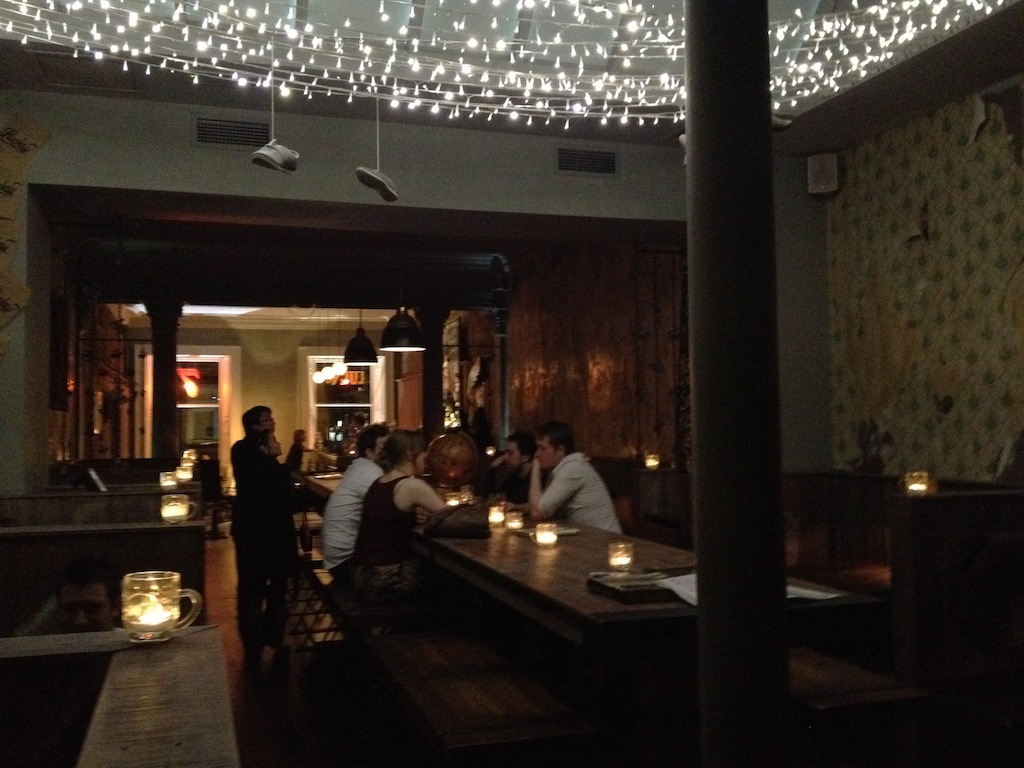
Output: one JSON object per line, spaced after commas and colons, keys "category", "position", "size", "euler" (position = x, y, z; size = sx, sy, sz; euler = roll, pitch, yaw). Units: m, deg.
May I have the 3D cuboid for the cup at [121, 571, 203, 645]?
{"category": "cup", "position": [-1.083, 0.700, 2.705], "size": [0.313, 0.257, 0.205], "euler": [6, -9, -26]}

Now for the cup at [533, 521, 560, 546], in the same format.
{"category": "cup", "position": [0.175, 0.762, 4.259], "size": [0.118, 0.094, 0.092], "euler": [-2, -1, -8]}

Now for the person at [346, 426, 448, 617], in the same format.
{"category": "person", "position": [-0.609, 0.768, 5.013], "size": [0.620, 1.005, 0.681], "euler": [-1, -3, 45]}

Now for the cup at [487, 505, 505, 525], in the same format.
{"category": "cup", "position": [-0.088, 0.804, 5.147], "size": [0.097, 0.115, 0.101], "euler": [-1, -5, 0]}

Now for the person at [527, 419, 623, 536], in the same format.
{"category": "person", "position": [0.300, 0.609, 5.476], "size": [0.727, 0.707, 0.671], "euler": [-2, -2, 28]}

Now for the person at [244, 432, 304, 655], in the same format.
{"category": "person", "position": [-1.765, 1.089, 6.205], "size": [0.410, 1.477, 1.083], "euler": [-1, -2, -16]}

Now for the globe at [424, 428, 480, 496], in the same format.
{"category": "globe", "position": [-0.527, 0.767, 8.186], "size": [0.497, 0.554, 0.491], "euler": [7, -11, -26]}

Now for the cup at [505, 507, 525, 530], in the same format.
{"category": "cup", "position": [0.020, 0.803, 4.963], "size": [0.099, 0.107, 0.105], "euler": [0, -9, 0]}

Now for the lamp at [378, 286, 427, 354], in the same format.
{"category": "lamp", "position": [-1.217, -0.794, 9.378], "size": [0.462, 0.953, 0.547], "euler": [-1, -9, 0]}

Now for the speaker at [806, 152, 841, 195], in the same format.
{"category": "speaker", "position": [2.439, -1.680, 6.814], "size": [0.264, 0.326, 0.277], "euler": [-1, 4, 2]}

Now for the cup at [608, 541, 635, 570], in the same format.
{"category": "cup", "position": [0.480, 0.755, 3.704], "size": [0.101, 0.110, 0.105], "euler": [1, -7, 0]}

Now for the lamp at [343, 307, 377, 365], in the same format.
{"category": "lamp", "position": [-1.856, -0.597, 10.378], "size": [0.419, 0.780, 0.398], "euler": [5, -12, -36]}
